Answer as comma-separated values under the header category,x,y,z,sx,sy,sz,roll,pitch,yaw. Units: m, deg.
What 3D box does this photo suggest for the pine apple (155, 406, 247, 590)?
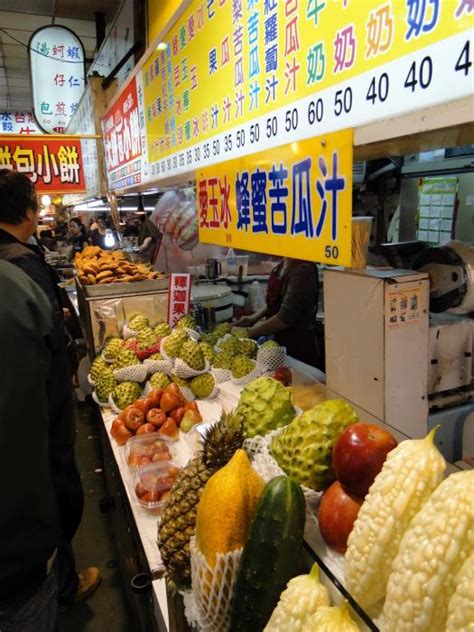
category,x,y,z,sx,sy,sz,roll,pitch,yaw
pine apple,-0.070,0.466,1.054,0.156,0.434,0.151,20,-9,-7

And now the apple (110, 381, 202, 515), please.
category,x,y,z,sx,sy,sz,roll,pitch,yaw
apple,-0.367,0.556,1.830,0.255,0.145,0.447,-30,33,-3

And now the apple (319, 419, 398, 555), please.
category,x,y,z,sx,sy,sz,roll,pitch,yaw
apple,0.202,0.310,0.770,0.157,0.197,0.143,-13,16,-43
